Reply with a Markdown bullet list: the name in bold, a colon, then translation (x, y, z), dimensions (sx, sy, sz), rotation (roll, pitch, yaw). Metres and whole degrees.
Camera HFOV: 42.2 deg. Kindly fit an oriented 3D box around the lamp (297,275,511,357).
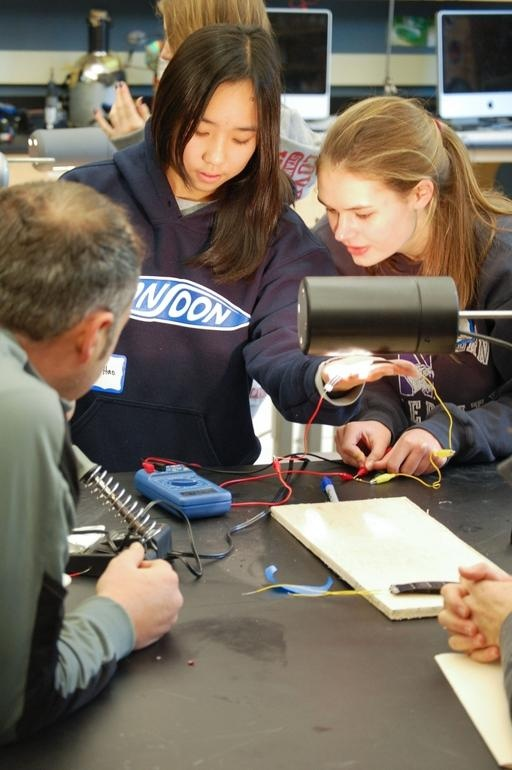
- **lamp**: translation (0.134, -0.069, 0.708), dimensions (0.294, 0.088, 0.084), rotation (1, 7, -9)
